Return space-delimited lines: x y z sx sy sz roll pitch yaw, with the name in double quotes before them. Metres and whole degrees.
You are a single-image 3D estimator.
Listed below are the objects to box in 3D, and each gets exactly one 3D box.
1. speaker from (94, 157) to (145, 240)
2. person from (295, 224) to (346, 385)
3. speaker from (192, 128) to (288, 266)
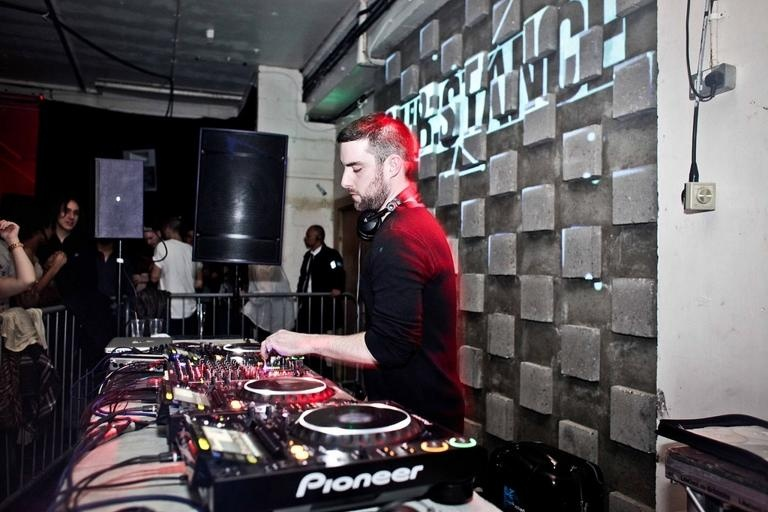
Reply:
"speaker" -1.981 -0.423 4.409 0.332 0.592 0.167 1 8 -16
"person" -0.925 0.643 7.128 0.663 1.974 0.696 12 -11 -37
"speaker" -1.033 -0.400 4.309 0.666 0.922 0.552 4 -5 -22
